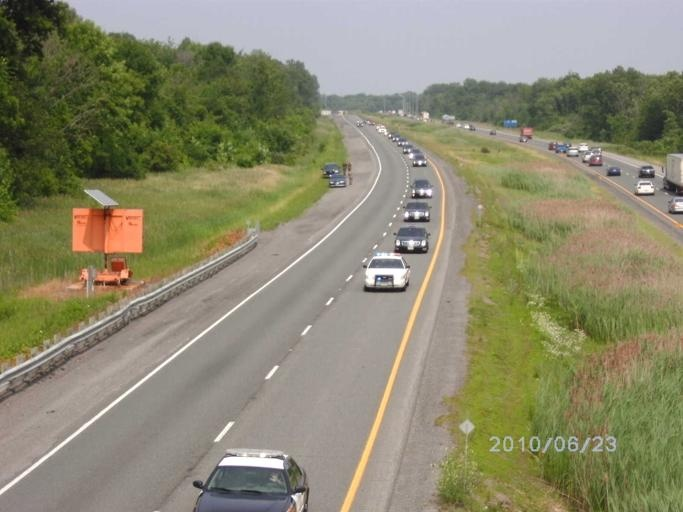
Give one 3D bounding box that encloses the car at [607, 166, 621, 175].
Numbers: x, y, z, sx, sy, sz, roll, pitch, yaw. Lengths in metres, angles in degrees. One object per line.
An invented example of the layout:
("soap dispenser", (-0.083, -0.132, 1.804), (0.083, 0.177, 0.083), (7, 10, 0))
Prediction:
("car", (34.703, -10.646, 93.285), (1.020, 0.951, 1.976), (2, 15, 12))
